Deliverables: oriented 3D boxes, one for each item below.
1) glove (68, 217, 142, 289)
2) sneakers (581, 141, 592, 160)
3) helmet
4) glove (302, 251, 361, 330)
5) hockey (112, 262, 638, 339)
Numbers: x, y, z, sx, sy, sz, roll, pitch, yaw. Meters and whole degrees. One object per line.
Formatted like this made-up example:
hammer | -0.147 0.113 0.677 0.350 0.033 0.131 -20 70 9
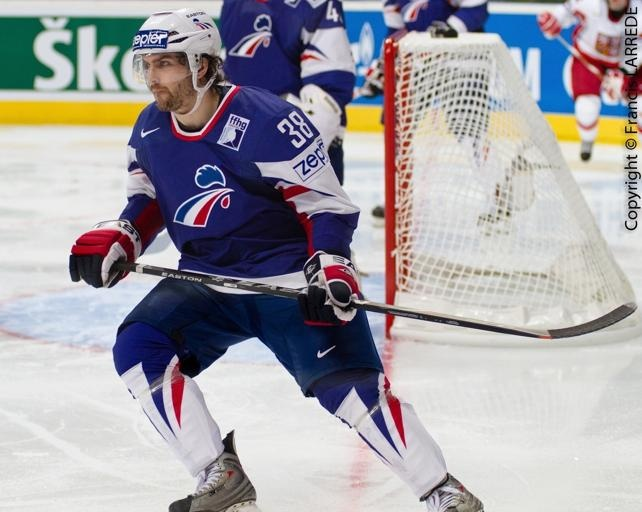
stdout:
glove | -0.637 -0.006 2.946 0.177 0.170 0.227 -27 -9 34
sneakers | 2.272 -0.906 8.356 0.068 0.177 0.124 5 2 14
helmet | -0.428 -0.610 2.930 0.295 0.244 0.224 -1 0 -33
glove | 0.020 0.090 2.623 0.157 0.180 0.149 -2 14 0
hockey | 0.265 0.155 3.318 1.252 0.084 0.153 7 22 14
